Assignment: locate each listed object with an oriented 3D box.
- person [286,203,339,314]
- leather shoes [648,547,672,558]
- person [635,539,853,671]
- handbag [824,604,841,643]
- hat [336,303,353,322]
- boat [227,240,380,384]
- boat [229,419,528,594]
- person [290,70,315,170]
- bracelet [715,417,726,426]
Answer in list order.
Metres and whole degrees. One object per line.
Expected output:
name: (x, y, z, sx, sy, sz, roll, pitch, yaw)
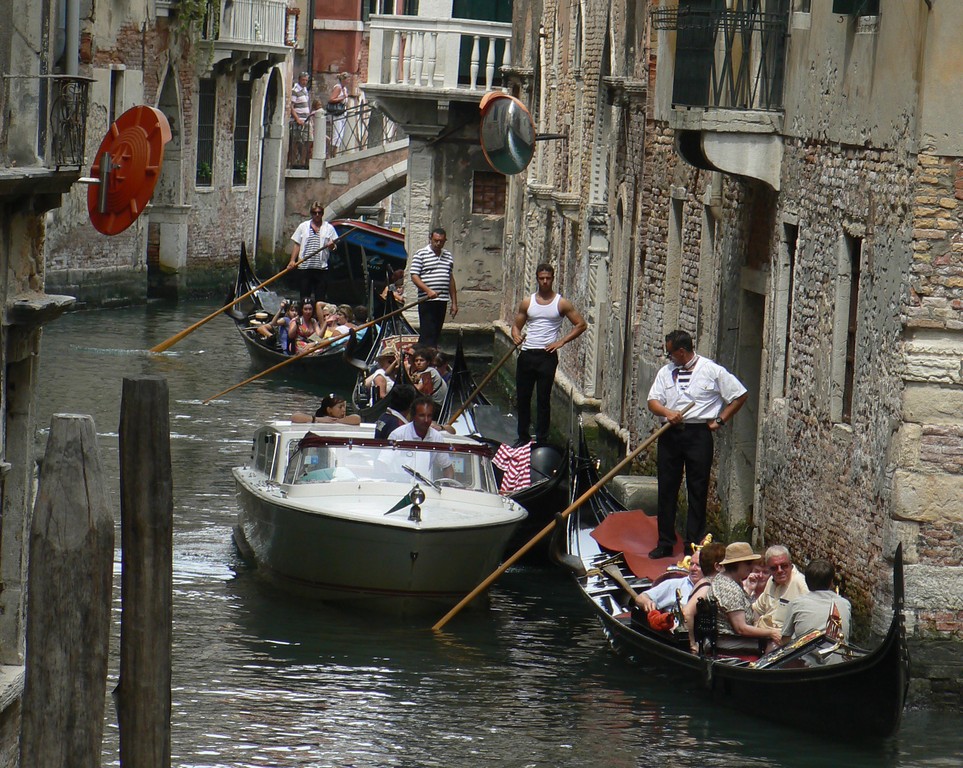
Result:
person: (-2.444, -1.825, 29.429, 0.661, 1.667, 0.504, 4, 25, -1)
leather shoes: (1.421, 1.357, 15.575, 0.170, 0.079, 0.070, 2, -2, -18)
person: (1.817, 1.418, 13.120, 0.452, 0.523, 1.443, -5, 1, -22)
handbag: (2.259, 1.545, 12.603, 0.088, 0.198, 0.166, 4, 13, 23)
hat: (-1.803, -0.946, 26.523, 0.166, 0.236, 0.233, 0, 5, -4)
boat: (-2.499, -0.626, 27.314, 1.204, 1.792, 4.152, 1, 15, -23)
boat: (-0.796, 1.073, 16.147, 2.148, 1.435, 4.071, 4, 3, -12)
person: (-4.001, -5.796, 44.300, 0.514, 1.683, 1.713, -2, 12, -5)
bracelet: (1.847, 0.311, 15.154, 0.065, 0.054, 0.079, 3, -8, -2)
